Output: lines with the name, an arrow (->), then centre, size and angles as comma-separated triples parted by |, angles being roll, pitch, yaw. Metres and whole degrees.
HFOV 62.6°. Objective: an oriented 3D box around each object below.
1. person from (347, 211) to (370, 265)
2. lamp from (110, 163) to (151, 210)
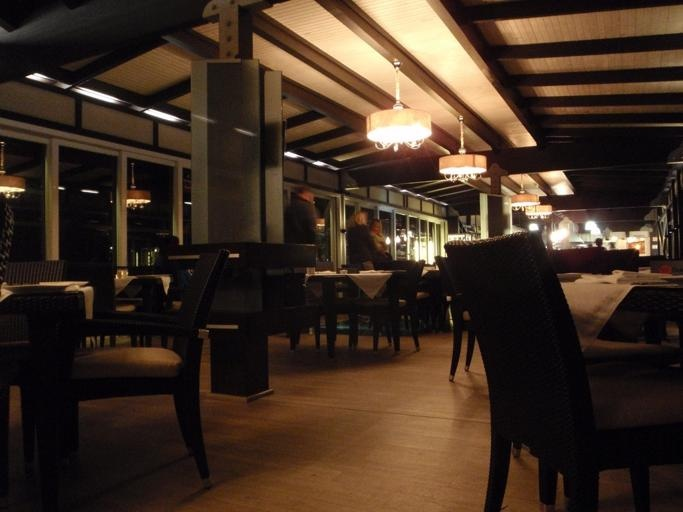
person -> 0.243, -0.200, 7.036 | 0.323, 0.928, 0.287 | -3, 37, -2
lamp -> -2.616, -0.902, 7.226 | 0.165, 0.597, 0.488 | 0, 3, 11
